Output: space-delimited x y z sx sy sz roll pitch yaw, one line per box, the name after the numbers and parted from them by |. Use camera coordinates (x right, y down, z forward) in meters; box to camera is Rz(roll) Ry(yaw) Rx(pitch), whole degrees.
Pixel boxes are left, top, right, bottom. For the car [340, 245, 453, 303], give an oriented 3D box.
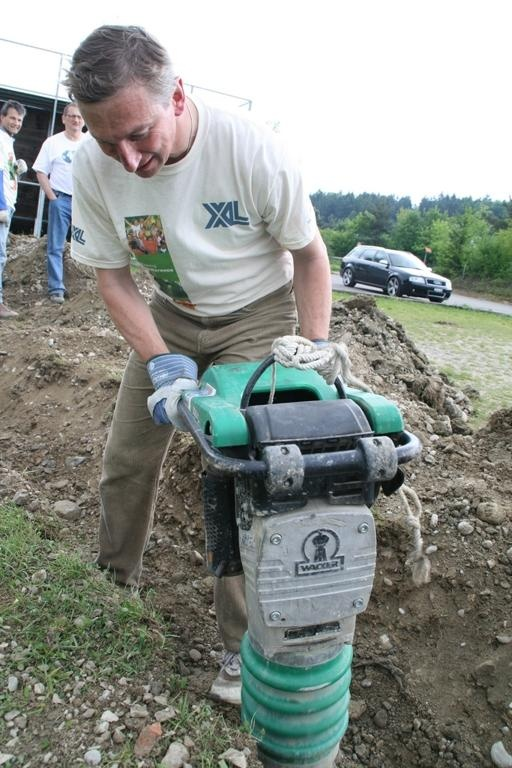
3.396 -2.808 15.858 1.368 0.991 2.805 -4 19 -36 | car

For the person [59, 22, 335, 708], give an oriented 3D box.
-0.212 0.044 2.125 0.843 2.097 0.934 0 8 -17 | person

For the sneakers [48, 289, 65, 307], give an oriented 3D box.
-2.396 -1.043 7.357 0.102 0.125 0.297 -11 23 -34 | sneakers

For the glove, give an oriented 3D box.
-0.239 0.037 1.845 0.146 0.112 0.238 -18 34 16 | glove
